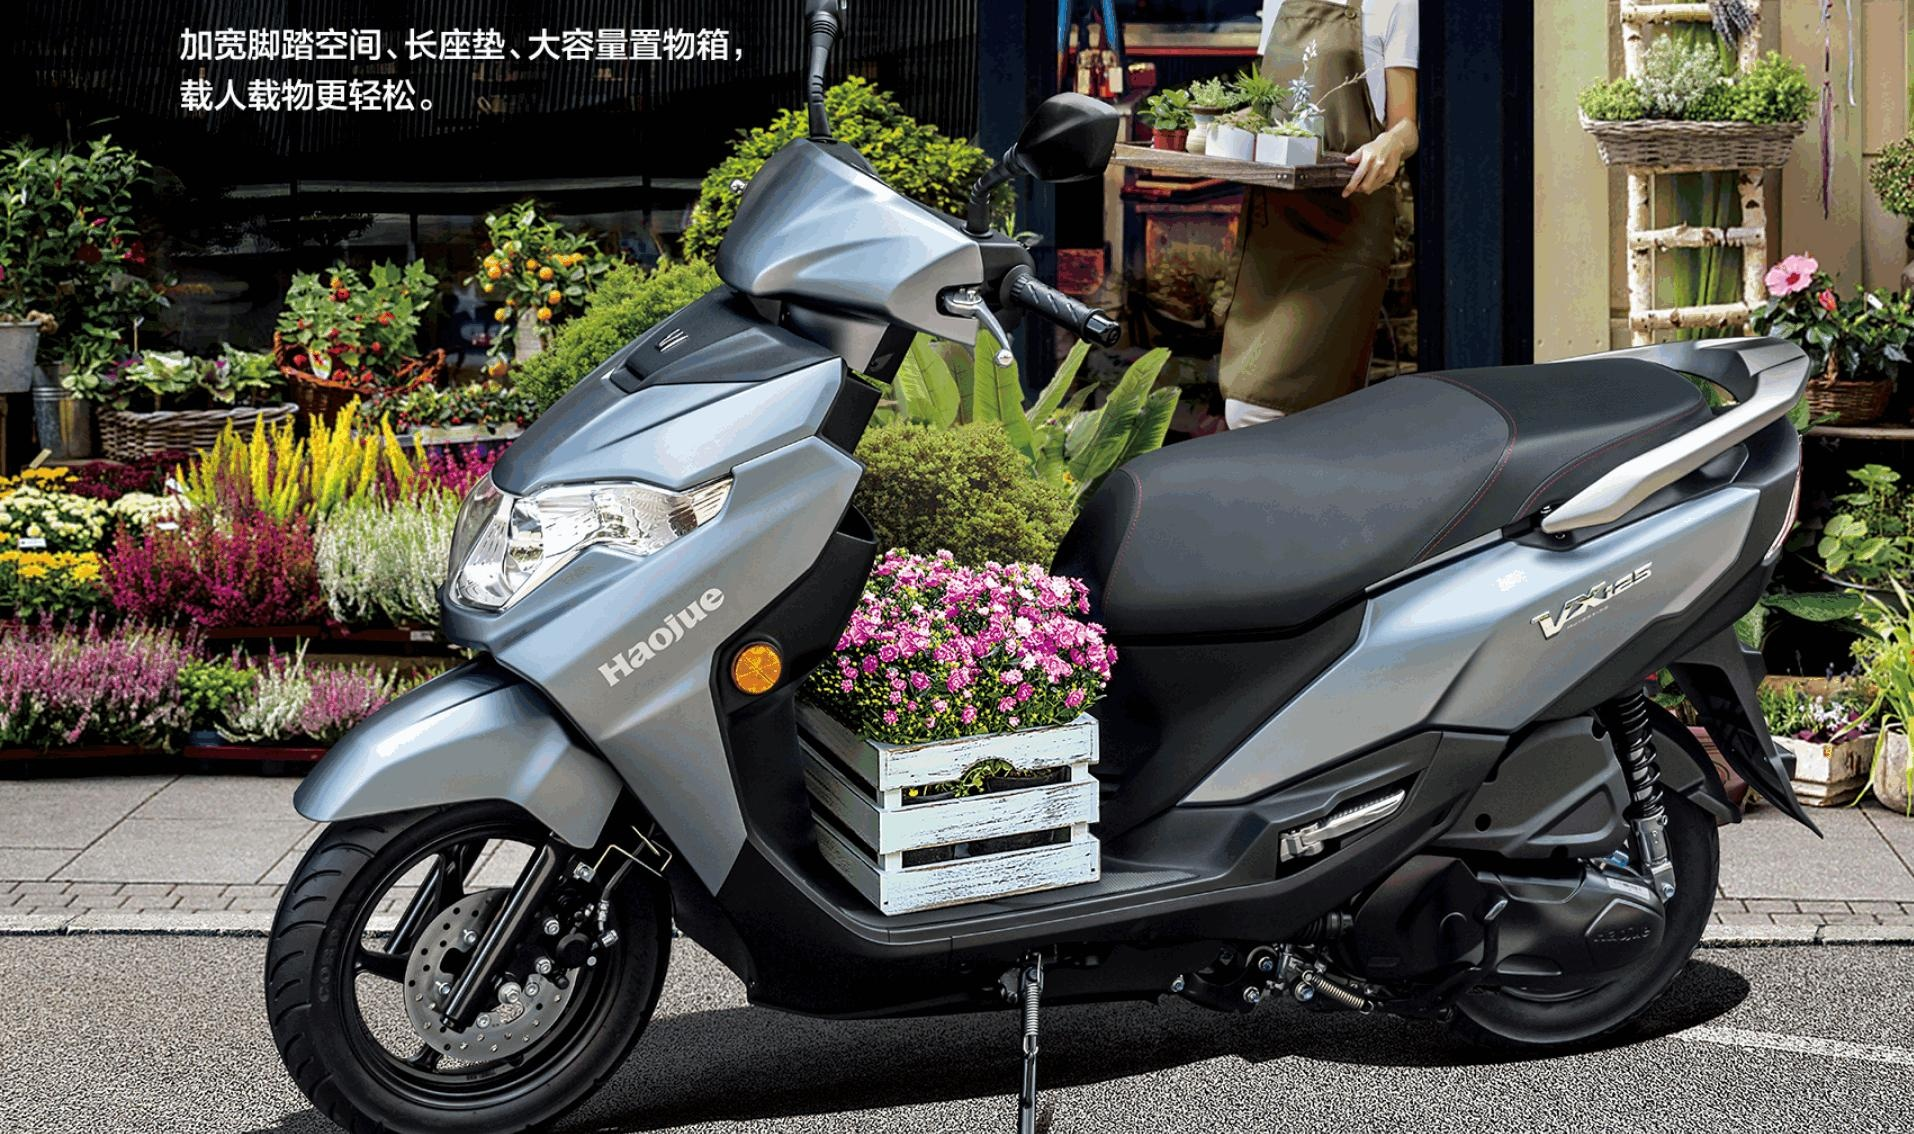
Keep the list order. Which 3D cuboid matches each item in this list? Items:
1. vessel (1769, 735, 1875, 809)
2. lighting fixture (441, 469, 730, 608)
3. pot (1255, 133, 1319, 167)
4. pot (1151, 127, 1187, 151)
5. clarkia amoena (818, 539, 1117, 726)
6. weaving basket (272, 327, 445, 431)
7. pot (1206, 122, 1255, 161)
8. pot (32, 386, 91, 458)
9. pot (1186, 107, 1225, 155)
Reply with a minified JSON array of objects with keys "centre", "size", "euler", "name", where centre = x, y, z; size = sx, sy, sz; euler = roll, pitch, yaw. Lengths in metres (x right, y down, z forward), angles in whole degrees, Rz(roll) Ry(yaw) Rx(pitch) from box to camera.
[{"centre":[3.794,0.900,8.964],"size":[0.386,0.247,0.394],"euler":[-11,15,-33],"name":"vessel"},{"centre":[-1.293,-0.124,6.850],"size":[0.616,0.231,0.547],"euler":[-19,17,-13],"name":"lighting fixture"},{"centre":[1.786,-2.238,11.031],"size":[0.234,0.150,0.238],"euler":[2,9,0],"name":"pot"},{"centre":[1.180,-2.357,11.378],"size":[0.136,0.092,0.155],"euler":[0,5,-5],"name":"pot"},{"centre":[0.022,0.287,7.098],"size":[0.770,0.649,0.396],"euler":[-11,-27,-6],"name":"clarkia amoena"},{"centre":[-3.684,-1.091,12.516],"size":[0.686,0.240,0.701],"euler":[7,19,1],"name":"weaving basket"},{"centre":[1.473,-2.277,11.063],"size":[0.224,0.146,0.222],"euler":[3,5,0],"name":"pot"},{"centre":[-5.437,-0.872,12.422],"size":[0.383,0.442,0.413],"euler":[-1,5,0],"name":"pot"},{"centre":[1.307,-2.403,11.284],"size":[0.236,0.297,0.243],"euler":[3,20,-1],"name":"pot"}]
